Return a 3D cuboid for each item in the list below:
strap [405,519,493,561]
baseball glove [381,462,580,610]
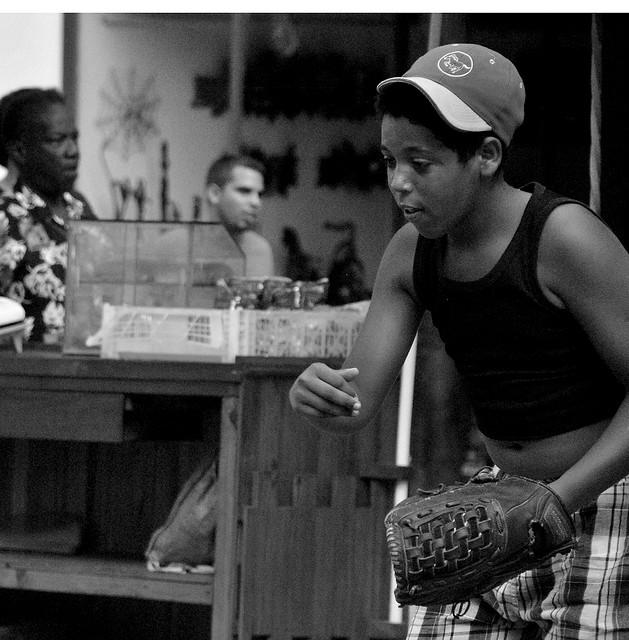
[{"bbox_3d":[0.198,0.328,1.459,0.130,0.060,0.009,-3,2,12],"label":"strap"},{"bbox_3d":[0.239,0.306,1.487,0.228,0.118,0.201,-21,35,-6],"label":"baseball glove"}]
